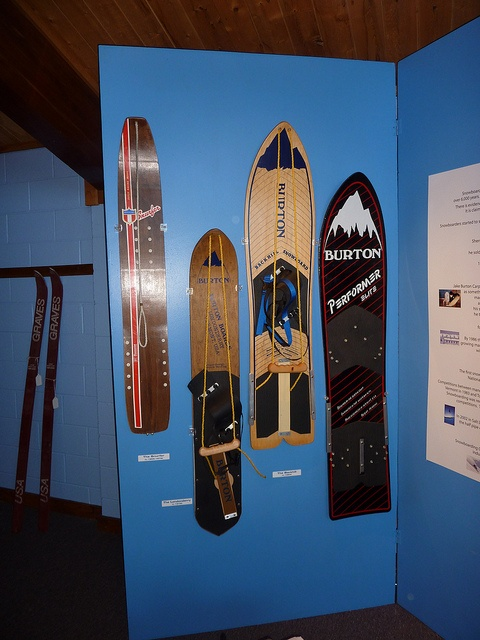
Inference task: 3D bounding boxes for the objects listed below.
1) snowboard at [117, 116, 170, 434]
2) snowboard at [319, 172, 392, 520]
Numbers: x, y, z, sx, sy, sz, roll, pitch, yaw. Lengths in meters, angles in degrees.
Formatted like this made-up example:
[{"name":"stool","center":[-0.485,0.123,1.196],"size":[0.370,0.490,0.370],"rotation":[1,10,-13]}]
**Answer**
[{"name":"snowboard","center":[-0.435,-0.165,2.315],"size":[0.172,1.525,0.170],"rotation":[-2,9,-11]},{"name":"snowboard","center":[0.567,0.207,2.511],"size":[0.248,1.769,0.055],"rotation":[0,20,17]}]
